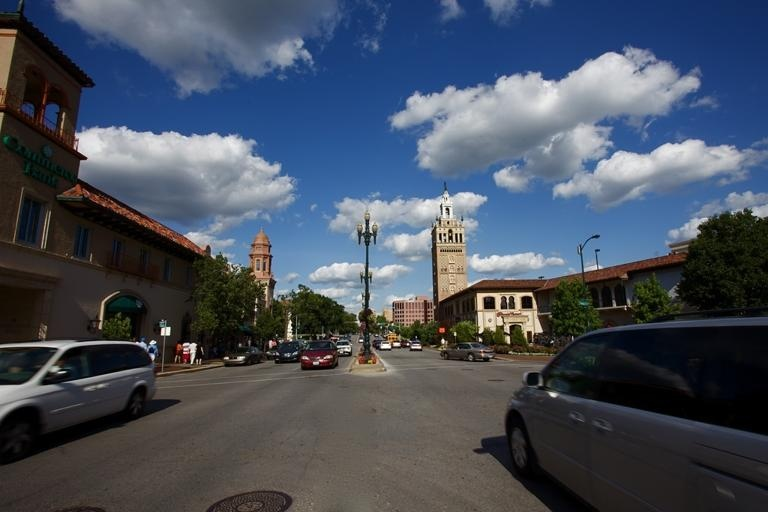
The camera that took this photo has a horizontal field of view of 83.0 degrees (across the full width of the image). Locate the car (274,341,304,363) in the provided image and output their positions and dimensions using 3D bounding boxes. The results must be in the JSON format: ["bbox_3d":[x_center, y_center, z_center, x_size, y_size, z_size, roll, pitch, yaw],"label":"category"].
[{"bbox_3d":[-7.296,7.379,33.329,1.776,1.310,3.906,-1,-14,-3],"label":"car"}]

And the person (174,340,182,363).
[{"bbox_3d":[-15.176,7.223,32.272,0.515,1.560,2.138,1,-2,-26],"label":"person"}]

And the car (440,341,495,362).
[{"bbox_3d":[6.103,7.227,32.461,1.272,1.508,4.750,1,-2,-28],"label":"car"}]

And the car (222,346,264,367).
[{"bbox_3d":[-10.221,7.507,32.157,1.407,1.451,3.394,0,-2,7],"label":"car"}]

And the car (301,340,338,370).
[{"bbox_3d":[-3.605,5.710,24.590,1.709,1.372,2.563,0,-2,-1],"label":"car"}]
